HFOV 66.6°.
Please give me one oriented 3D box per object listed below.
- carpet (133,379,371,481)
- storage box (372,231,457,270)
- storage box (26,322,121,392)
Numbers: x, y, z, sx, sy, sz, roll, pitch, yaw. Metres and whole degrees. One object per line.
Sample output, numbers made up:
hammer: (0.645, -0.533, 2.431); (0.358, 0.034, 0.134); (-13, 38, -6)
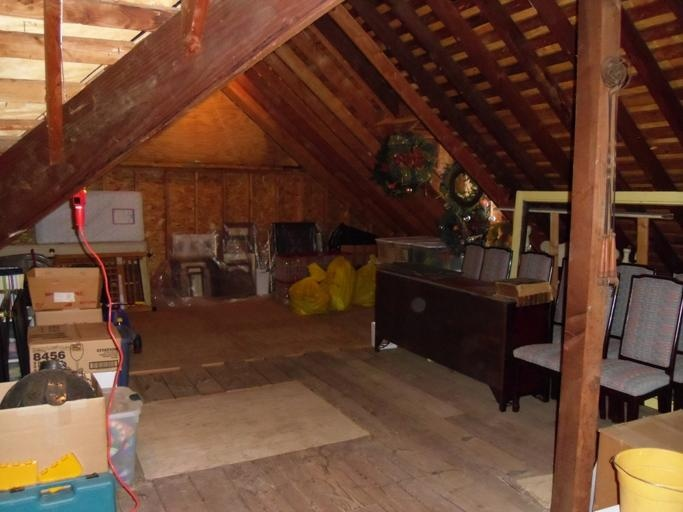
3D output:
carpet: (-0.734, 1.241, 3.924); (1.492, 0.037, 1.073); (-4, 11, -19)
storage box: (0.918, -0.032, 6.281); (0.944, 0.294, 0.436); (0, 10, 2)
storage box: (-1.843, 0.628, 3.641); (0.508, 0.319, 0.514); (-2, 14, -22)
